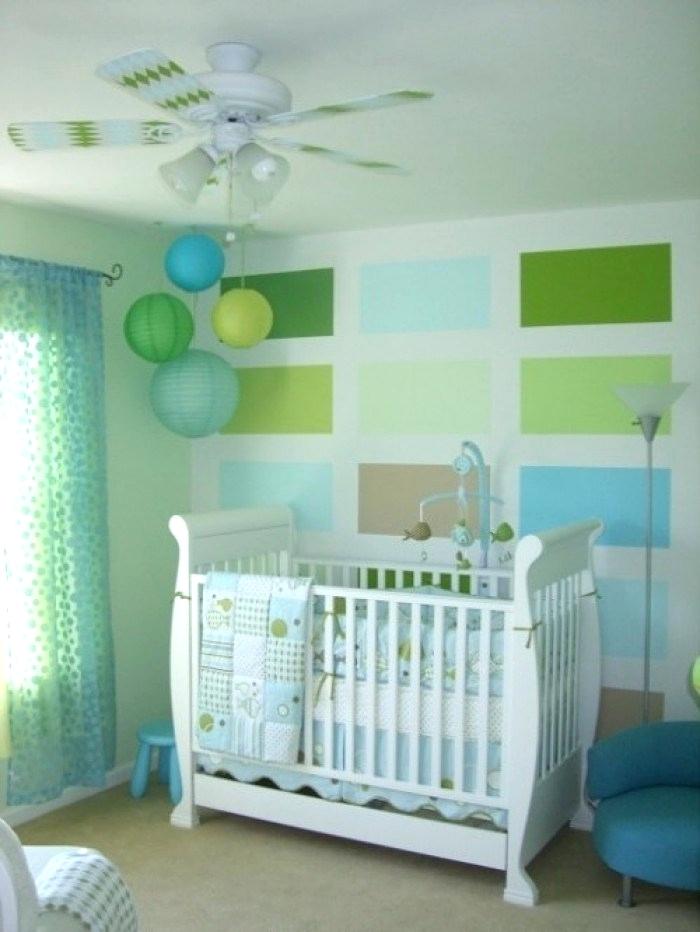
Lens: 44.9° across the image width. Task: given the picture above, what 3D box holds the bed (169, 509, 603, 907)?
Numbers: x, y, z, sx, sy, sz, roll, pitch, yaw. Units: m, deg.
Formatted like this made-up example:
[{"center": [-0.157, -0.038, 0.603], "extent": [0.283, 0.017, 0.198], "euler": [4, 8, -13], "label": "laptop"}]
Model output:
[{"center": [0.097, 0.837, 3.148], "extent": [0.991, 1.302, 1.662], "euler": [22, -25, -35], "label": "bed"}]

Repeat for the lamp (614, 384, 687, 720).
[{"center": [1.031, 0.318, 2.824], "extent": [0.195, 1.145, 0.453], "euler": [-1, -1, 20], "label": "lamp"}]

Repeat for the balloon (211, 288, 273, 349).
[{"center": [-0.344, -0.471, 2.802], "extent": [0.182, 0.222, 0.188], "euler": [-1, -4, -2], "label": "balloon"}]

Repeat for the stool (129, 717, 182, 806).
[{"center": [-0.735, 1.147, 3.286], "extent": [0.226, 0.251, 0.251], "euler": [5, 2, -9], "label": "stool"}]
